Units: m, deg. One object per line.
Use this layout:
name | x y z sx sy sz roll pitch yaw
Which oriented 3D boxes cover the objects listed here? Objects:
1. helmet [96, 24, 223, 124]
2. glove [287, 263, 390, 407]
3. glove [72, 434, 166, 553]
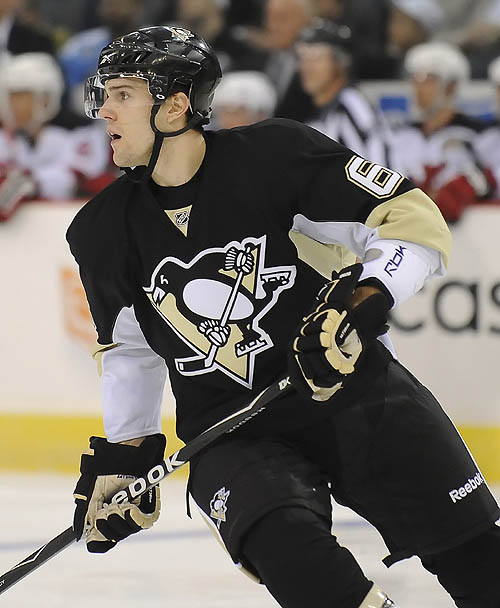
helmet | -0.170 -0.503 1.747 0.331 0.190 0.211 1 -2 -19
glove | 0.163 0.058 1.295 0.079 0.169 0.247 0 50 53
glove | -0.341 0.452 1.805 0.254 0.258 0.147 14 -3 -28
